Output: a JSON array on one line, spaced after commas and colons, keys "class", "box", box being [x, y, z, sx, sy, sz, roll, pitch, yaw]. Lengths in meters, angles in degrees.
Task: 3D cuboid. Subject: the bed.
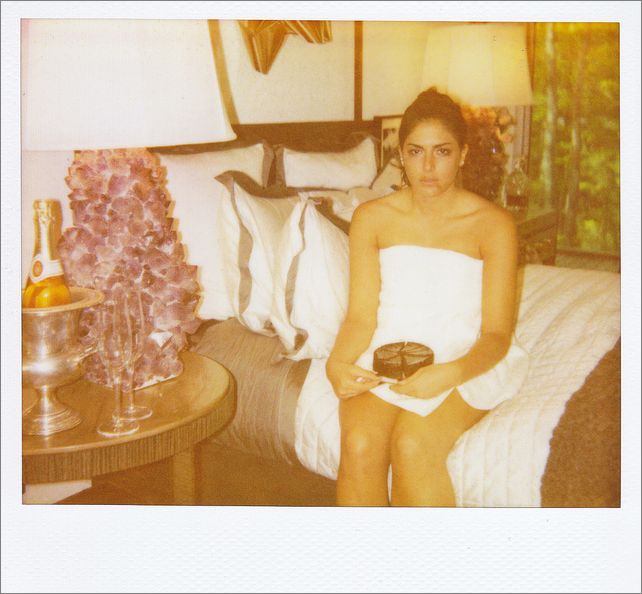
[{"class": "bed", "box": [0.250, 0.137, 1.702, 1.049, 0.689, 1.077, 6, 31, 15]}]

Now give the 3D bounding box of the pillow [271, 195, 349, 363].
[{"class": "pillow", "box": [-0.019, -0.043, 1.564, 0.287, 0.367, 0.096, 2, -4, -17]}]

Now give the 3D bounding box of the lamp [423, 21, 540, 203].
[{"class": "lamp", "box": [0.482, -0.552, 1.773, 0.328, 0.497, 0.321, -10, 14, -33]}]

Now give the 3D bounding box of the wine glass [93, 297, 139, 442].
[{"class": "wine glass", "box": [-0.451, 0.142, 1.304, 0.095, 0.285, 0.156, -5, 12, -11]}]

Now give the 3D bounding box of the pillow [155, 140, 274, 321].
[{"class": "pillow", "box": [-0.294, -0.167, 1.526, 0.379, 0.387, 0.112, -4, 4, -12]}]

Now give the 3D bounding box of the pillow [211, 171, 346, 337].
[{"class": "pillow", "box": [-0.122, -0.110, 1.491, 0.349, 0.395, 0.112, 1, 3, -33]}]

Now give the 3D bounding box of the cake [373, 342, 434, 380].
[{"class": "cake", "box": [0.210, 0.162, 1.542, 0.109, 0.041, 0.105, -7, 13, -26]}]

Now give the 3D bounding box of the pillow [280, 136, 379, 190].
[{"class": "pillow", "box": [0.029, -0.358, 1.656, 0.223, 0.152, 0.075, -8, 18, -28]}]
